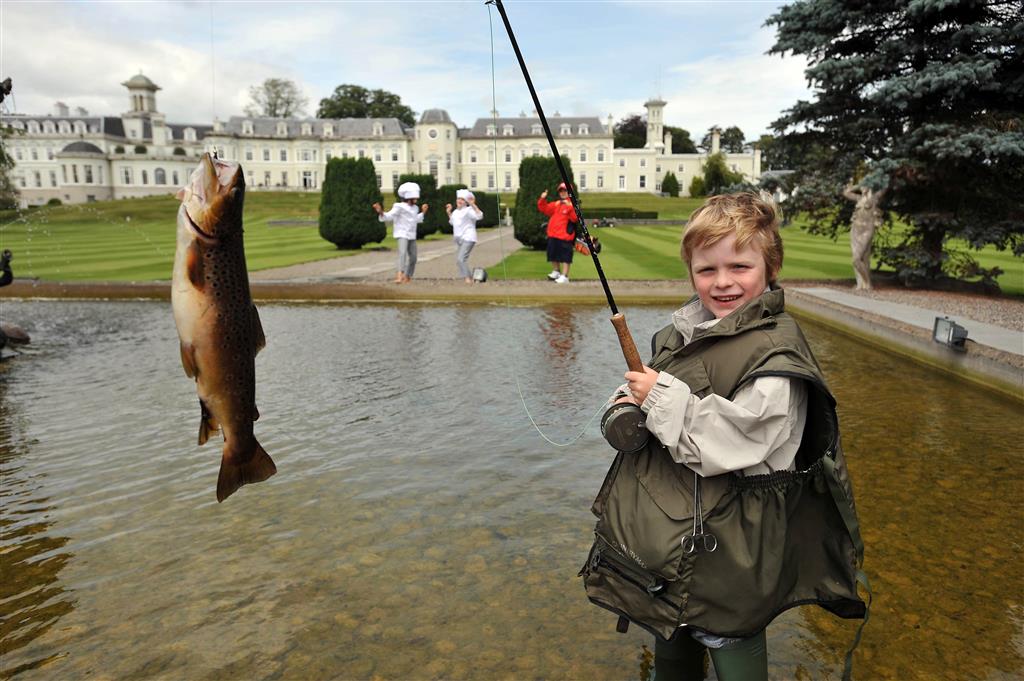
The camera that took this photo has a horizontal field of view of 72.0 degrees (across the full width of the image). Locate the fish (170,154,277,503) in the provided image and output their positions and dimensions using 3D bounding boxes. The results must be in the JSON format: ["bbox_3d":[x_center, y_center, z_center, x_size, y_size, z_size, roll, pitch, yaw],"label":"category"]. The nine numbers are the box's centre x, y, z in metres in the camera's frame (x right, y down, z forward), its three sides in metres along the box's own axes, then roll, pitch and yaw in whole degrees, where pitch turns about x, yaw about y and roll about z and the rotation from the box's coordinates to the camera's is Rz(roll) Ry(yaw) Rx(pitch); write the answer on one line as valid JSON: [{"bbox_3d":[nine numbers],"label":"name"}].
[{"bbox_3d":[-1.497,-0.015,3.617,0.416,1.804,0.431,-5,15,-20],"label":"fish"}]

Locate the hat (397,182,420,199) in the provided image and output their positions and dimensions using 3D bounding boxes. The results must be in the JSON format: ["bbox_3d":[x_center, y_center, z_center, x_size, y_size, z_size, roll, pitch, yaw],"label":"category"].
[{"bbox_3d":[-2.146,-3.035,14.524,0.516,0.306,0.616,-2,11,-8],"label":"hat"}]

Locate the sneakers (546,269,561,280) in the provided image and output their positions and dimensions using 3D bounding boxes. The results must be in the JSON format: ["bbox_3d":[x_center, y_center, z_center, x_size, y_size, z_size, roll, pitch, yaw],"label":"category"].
[{"bbox_3d":[0.854,-1.318,14.293,0.166,0.137,0.314,-1,0,13],"label":"sneakers"}]
